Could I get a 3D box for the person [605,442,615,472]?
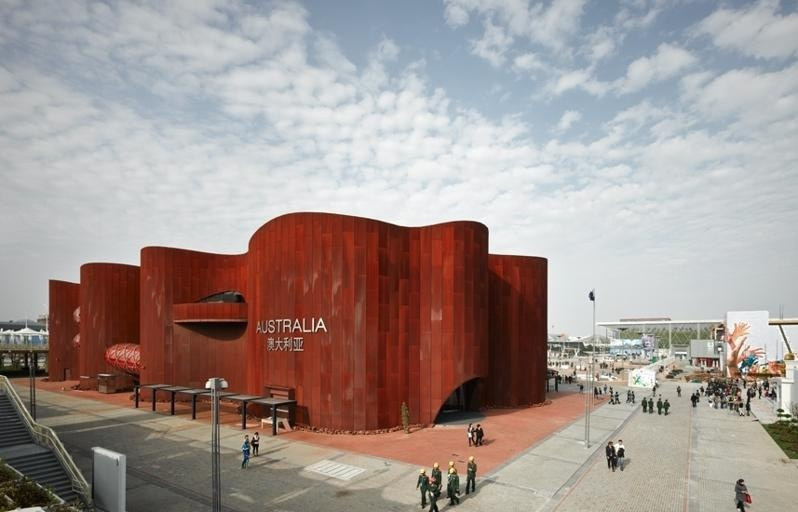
[{"bbox_3d":[17.080,16.065,40.422,0.657,2.183,0.890,1,1,23],"label":"person"}]
